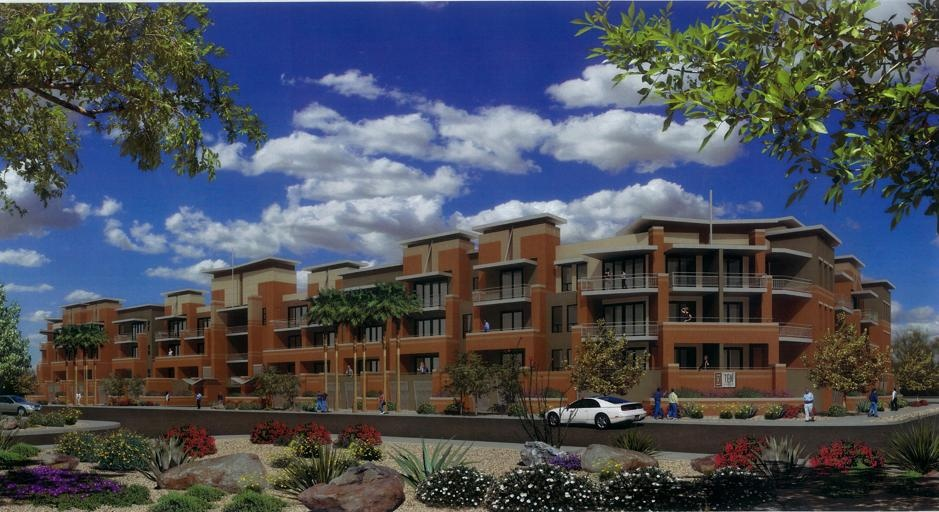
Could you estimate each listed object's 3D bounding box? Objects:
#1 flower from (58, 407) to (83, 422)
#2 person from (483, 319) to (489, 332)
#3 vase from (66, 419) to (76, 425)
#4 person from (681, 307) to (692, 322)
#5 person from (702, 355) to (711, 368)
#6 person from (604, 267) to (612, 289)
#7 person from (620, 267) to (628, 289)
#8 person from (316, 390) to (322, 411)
[{"bbox_3d":[-27.222,11.007,58.903,1.032,0.969,3.167,4,-15,-19],"label":"flower"},{"bbox_3d":[1.403,6.202,76.922,0.629,1.099,1.171,-2,-14,5],"label":"person"},{"bbox_3d":[-27.154,11.320,58.771,0.406,0.280,0.415,-1,-3,31],"label":"vase"},{"bbox_3d":[17.364,4.711,69.285,0.853,1.227,0.595,4,-15,-17],"label":"person"},{"bbox_3d":[18.689,8.377,68.754,0.598,1.085,1.384,-5,-15,19],"label":"person"},{"bbox_3d":[11.309,1.890,71.337,0.782,1.841,1.190,-1,-14,1],"label":"person"},{"bbox_3d":[12.444,1.855,70.288,0.445,1.698,1.138,-3,-14,9],"label":"person"},{"bbox_3d":[-13.590,13.271,78.050,0.404,1.538,1.350,3,-14,-15],"label":"person"}]
